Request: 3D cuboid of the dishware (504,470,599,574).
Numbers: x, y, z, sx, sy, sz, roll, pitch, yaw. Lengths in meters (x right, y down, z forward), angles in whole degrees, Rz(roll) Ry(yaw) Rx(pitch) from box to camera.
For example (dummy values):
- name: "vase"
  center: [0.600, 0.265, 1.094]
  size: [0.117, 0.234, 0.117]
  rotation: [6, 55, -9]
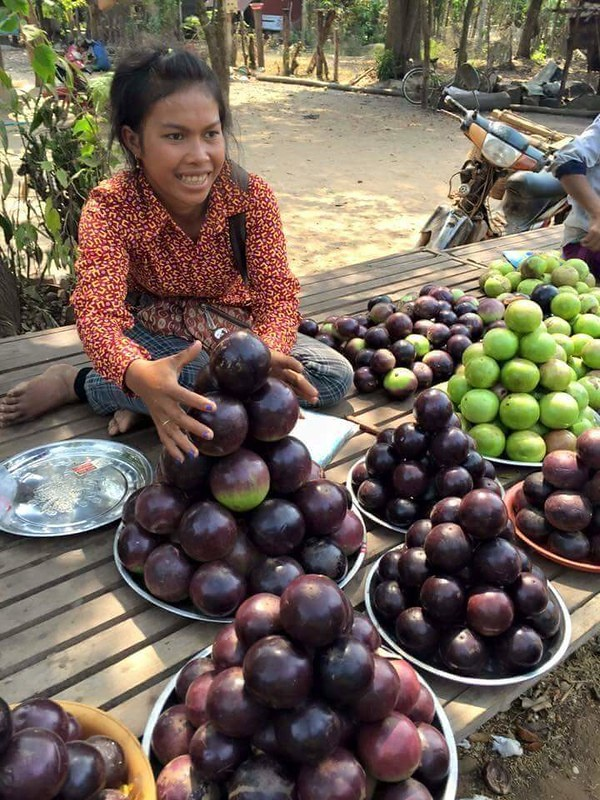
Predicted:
- name: "dishware"
  center: [0.772, 0.353, 1.907]
  size: [0.319, 0.060, 0.296]
  rotation: [-5, 31, -11]
